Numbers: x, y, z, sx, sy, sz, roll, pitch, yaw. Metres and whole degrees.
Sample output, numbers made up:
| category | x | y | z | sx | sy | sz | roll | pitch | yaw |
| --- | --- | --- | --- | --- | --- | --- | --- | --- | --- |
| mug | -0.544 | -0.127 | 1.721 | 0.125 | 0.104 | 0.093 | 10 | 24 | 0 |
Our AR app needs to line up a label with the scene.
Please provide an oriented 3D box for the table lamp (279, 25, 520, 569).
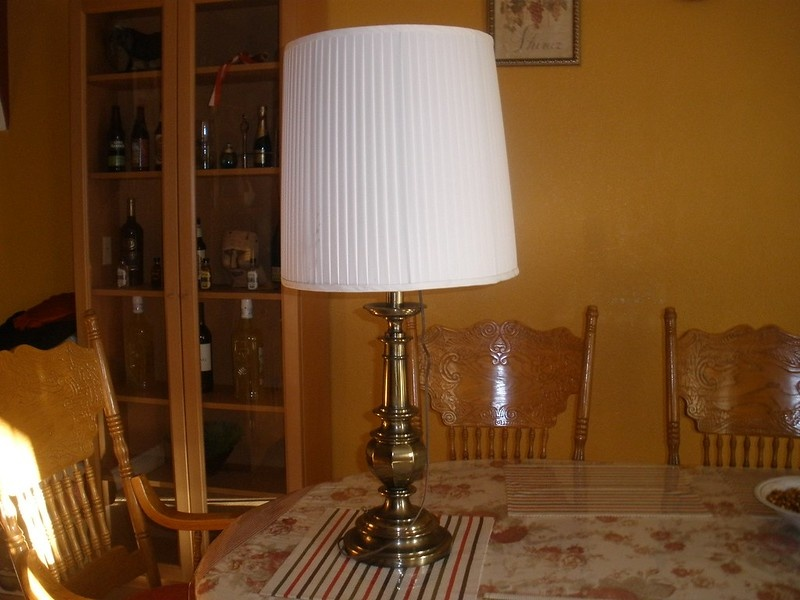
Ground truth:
| category | x | y | z | sx | sy | sz | roll | pitch | yaw |
| --- | --- | --- | --- | --- | --- | --- | --- | --- | --- |
| table lamp | -0.005 | 0.011 | 1.334 | 0.444 | 0.958 | 0.442 | -2 | 5 | -17 |

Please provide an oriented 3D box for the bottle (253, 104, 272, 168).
| category | x | y | z | sx | sy | sz | roll | pitch | yaw |
| --- | --- | --- | --- | --- | --- | --- | --- | --- | --- |
| bottle | -0.491 | -0.582 | 2.440 | 0.070 | 0.215 | 0.030 | 1 | 14 | 3 |

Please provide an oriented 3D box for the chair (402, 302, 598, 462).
| category | x | y | z | sx | sy | sz | roll | pitch | yaw |
| --- | --- | --- | --- | --- | --- | --- | --- | --- | --- |
| chair | 0.327 | 0.278 | 2.208 | 0.449 | 0.793 | 0.494 | 0 | -5 | 4 |
